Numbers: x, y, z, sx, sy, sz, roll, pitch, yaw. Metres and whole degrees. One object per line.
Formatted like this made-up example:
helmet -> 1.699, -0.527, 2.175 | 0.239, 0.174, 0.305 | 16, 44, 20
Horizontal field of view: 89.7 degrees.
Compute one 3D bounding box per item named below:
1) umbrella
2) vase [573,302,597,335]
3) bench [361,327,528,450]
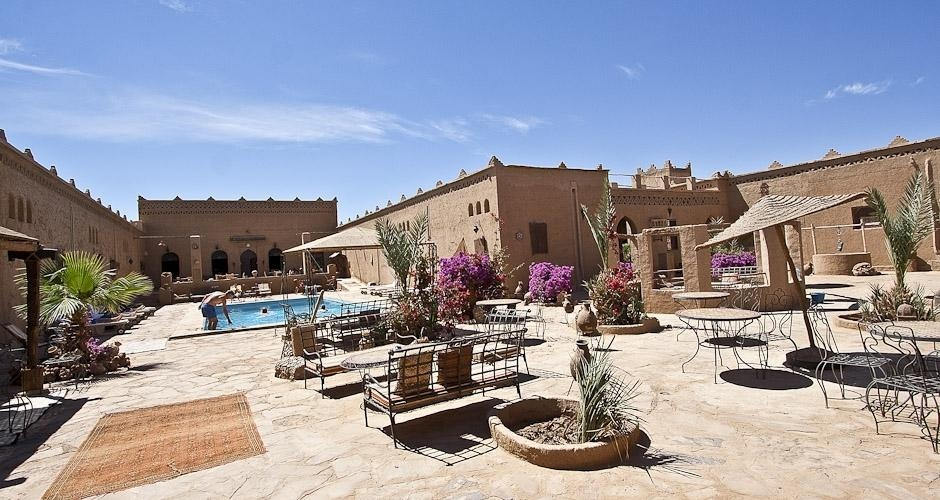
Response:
umbrella -> 10.348, 1.013, 15.390 | 5.269, 4.229, 4.914 | -16, 8, 17
vase -> 3.386, 2.033, 13.778 | 0.573, 0.897, 0.538 | -8, -6, 10
bench -> -0.500, 2.718, 10.255 | 3.620, 1.452, 1.419 | 0, -4, -41
